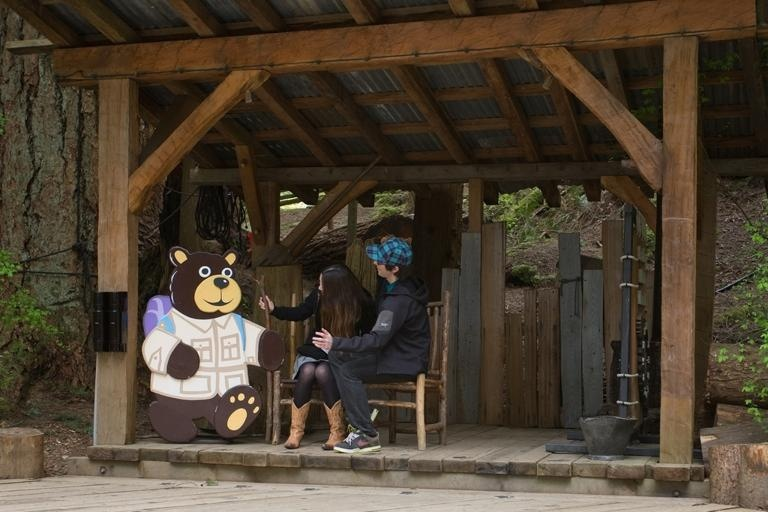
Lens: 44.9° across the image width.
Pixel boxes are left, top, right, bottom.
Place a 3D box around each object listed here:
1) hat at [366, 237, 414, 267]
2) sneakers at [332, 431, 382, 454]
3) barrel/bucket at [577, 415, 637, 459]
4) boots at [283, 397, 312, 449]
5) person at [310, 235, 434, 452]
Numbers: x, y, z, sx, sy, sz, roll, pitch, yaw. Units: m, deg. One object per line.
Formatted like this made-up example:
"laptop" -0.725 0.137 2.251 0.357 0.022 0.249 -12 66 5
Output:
"hat" 0.052 -0.032 8.812 0.410 0.246 0.151 6 -35 -1
"sneakers" -0.229 1.731 8.560 0.481 0.195 0.170 2 -10 -11
"barrel/bucket" 1.981 1.588 8.233 0.427 0.260 0.408 3 -11 0
"boots" -0.854 1.639 9.031 0.232 0.448 0.612 1 -11 -6
"person" -0.062 0.809 8.691 0.963 2.011 0.540 -1 -12 2
